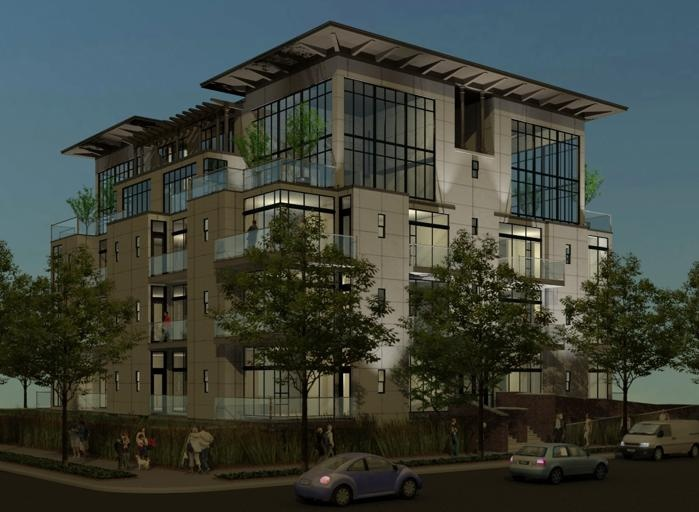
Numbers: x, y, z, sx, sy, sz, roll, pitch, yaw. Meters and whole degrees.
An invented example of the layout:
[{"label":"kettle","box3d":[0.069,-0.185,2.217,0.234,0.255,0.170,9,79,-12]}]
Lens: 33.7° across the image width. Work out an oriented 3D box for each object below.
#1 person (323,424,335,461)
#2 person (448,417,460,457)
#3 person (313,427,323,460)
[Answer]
[{"label":"person","box3d":[-1.178,10.423,65.564,0.621,1.772,1.094,-1,-12,-1]},{"label":"person","box3d":[6.360,10.992,70.560,0.580,2.148,0.999,-3,-12,6]},{"label":"person","box3d":[-1.700,10.605,65.789,0.483,1.721,0.934,0,-12,-5]}]
